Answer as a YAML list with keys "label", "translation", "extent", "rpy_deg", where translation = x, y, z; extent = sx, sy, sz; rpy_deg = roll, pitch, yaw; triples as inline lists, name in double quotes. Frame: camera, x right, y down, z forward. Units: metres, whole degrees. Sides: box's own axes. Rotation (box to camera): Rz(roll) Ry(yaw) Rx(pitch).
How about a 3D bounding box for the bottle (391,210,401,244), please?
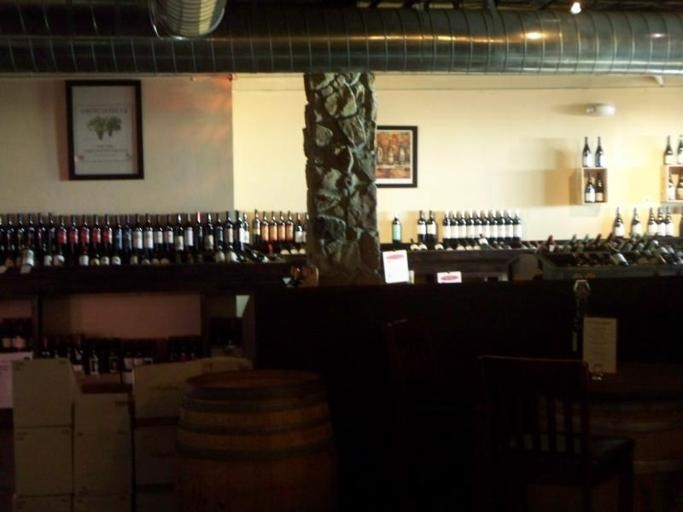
- label: "bottle"
  translation: [0.594, -0.282, 6.864]
  extent: [0.114, 0.301, 0.312]
  rpy_deg: [-1, 4, 4]

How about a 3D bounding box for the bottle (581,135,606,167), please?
- label: "bottle"
  translation: [2.789, -1.145, 7.082]
  extent: [0.360, 0.339, 0.160]
  rpy_deg: [-4, 4, -32]

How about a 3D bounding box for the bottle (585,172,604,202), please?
- label: "bottle"
  translation: [2.768, -0.733, 7.014]
  extent: [0.243, 0.296, 0.157]
  rpy_deg: [-1, 3, 2]
